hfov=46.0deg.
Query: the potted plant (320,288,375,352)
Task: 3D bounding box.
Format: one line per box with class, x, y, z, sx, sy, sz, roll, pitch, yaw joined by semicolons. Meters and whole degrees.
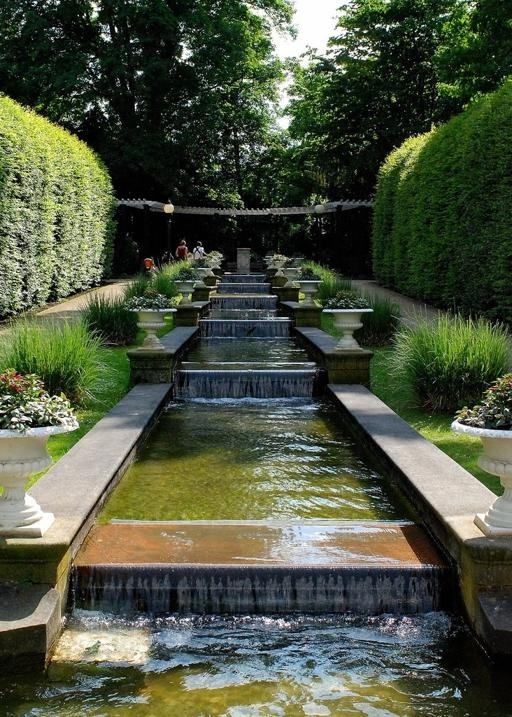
potted plant;1.106;-0.454;7.595;0.828;0.791;0.814;0;0;-4
